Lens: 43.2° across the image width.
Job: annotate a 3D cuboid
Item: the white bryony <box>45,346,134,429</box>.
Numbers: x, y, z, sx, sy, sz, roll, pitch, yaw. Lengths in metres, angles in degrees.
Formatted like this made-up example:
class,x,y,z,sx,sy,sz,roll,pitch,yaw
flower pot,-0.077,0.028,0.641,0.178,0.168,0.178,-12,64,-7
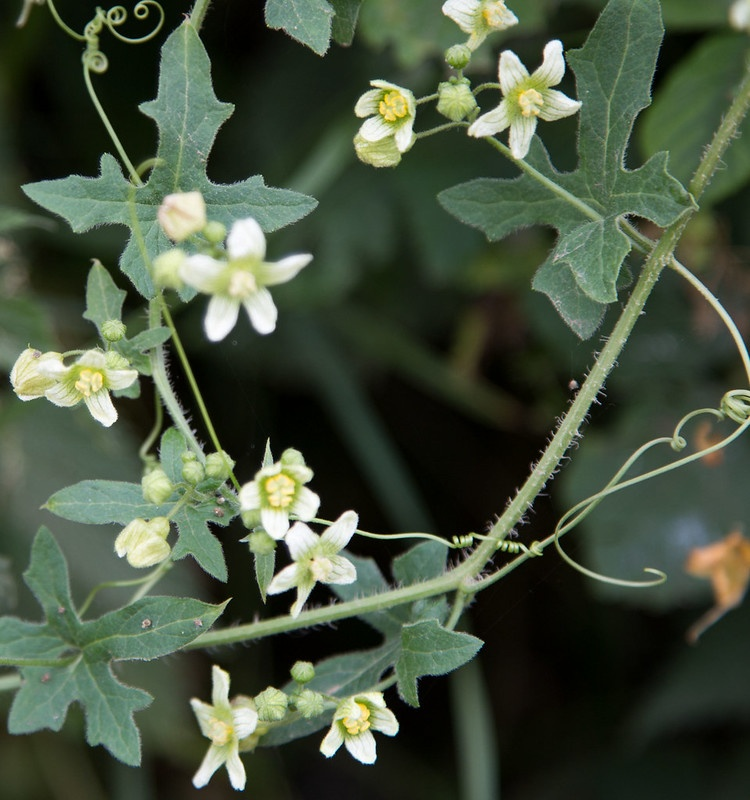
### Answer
class,x,y,z,sx,sy,sz,roll,pitch,yaw
white bryony,-0.610,-0.058,2.038,0.135,0.071,0.150,-29,-14,-10

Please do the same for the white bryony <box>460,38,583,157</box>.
class,x,y,z,sx,sy,sz,roll,pitch,yaw
white bryony,0.327,-0.665,2.107,0.222,0.119,0.273,-9,-19,43

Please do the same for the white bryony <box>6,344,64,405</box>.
class,x,y,z,sx,sy,sz,roll,pitch,yaw
white bryony,-0.734,-0.063,2.090,0.121,0.066,0.115,11,23,5

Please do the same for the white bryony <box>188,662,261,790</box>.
class,x,y,z,sx,sy,sz,roll,pitch,yaw
white bryony,-0.335,0.707,2.060,0.150,0.268,0.151,-13,-1,-24

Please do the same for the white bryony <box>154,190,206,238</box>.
class,x,y,z,sx,sy,sz,roll,pitch,yaw
white bryony,-0.373,-0.361,1.863,0.083,0.097,0.106,-14,-1,-5

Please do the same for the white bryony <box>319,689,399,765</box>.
class,x,y,z,sx,sy,sz,roll,pitch,yaw
white bryony,-0.038,0.715,2.071,0.164,0.161,0.175,-14,-1,-7

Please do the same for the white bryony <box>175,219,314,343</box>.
class,x,y,z,sx,sy,sz,roll,pitch,yaw
white bryony,-0.248,-0.232,1.852,0.238,0.250,0.108,-3,17,-4

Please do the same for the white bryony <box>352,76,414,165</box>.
class,x,y,z,sx,sy,sz,roll,pitch,yaw
white bryony,0.026,-0.621,2.127,0.132,0.187,0.081,1,15,22
